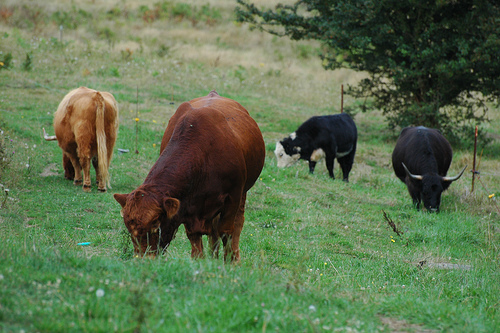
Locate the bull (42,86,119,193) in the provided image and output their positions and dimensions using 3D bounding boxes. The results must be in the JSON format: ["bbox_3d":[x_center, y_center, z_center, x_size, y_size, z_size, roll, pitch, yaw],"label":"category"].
[{"bbox_3d":[-4.573,-0.754,17.048,1.670,2.728,0.880,7,13,13],"label":"bull"}]

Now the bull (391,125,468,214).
[{"bbox_3d":[5.675,-0.068,19.847,1.304,2.118,3.697,-1,8,8],"label":"bull"}]

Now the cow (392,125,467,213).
[{"bbox_3d":[5.457,0.034,19.221,1.586,2.233,2.539,5,14,2],"label":"cow"}]

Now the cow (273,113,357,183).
[{"bbox_3d":[2.425,-0.679,20.974,2.926,1.973,1.071,1,13,-16],"label":"cow"}]

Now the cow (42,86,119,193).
[{"bbox_3d":[-4.973,-0.763,18.864,2.228,2.923,5.049,-3,0,-26],"label":"cow"}]
